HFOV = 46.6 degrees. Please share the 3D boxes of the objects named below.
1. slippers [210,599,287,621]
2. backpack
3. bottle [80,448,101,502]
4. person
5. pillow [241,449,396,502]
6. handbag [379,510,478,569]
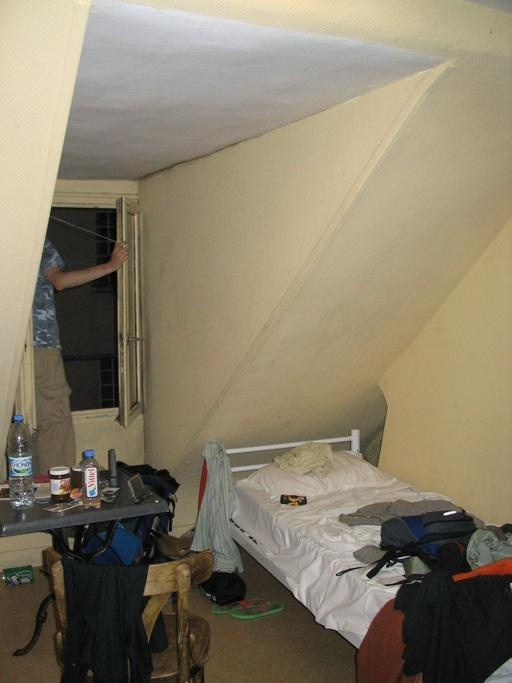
[{"bbox_3d":[-0.041,1.305,2.899,0.300,0.024,0.208,-2,4,-32],"label":"slippers"},{"bbox_3d":[-0.518,0.706,2.484,0.442,0.393,0.254,2,4,15],"label":"backpack"},{"bbox_3d":[-0.626,0.496,2.250,0.071,0.181,0.242,-1,4,-15],"label":"bottle"},{"bbox_3d":[-1.047,0.094,3.309,0.333,1.299,0.582,2,4,32],"label":"person"},{"bbox_3d":[0.369,0.763,3.330,0.457,0.100,0.347,-2,7,-28],"label":"pillow"},{"bbox_3d":[0.736,0.812,2.551,0.343,0.075,0.576,3,4,39],"label":"handbag"}]
